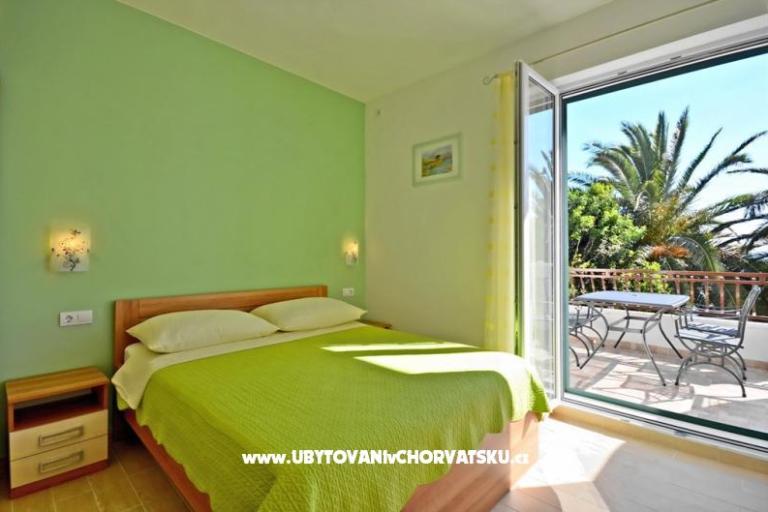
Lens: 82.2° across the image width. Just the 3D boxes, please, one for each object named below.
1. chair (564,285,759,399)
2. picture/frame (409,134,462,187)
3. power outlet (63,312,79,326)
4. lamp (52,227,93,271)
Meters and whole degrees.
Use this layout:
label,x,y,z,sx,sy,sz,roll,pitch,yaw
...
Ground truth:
label,x,y,z,sx,sy,sz,roll,pitch,yaw
chair,3.412,0.992,5.644,1.322,1.242,2.002,-2,3,-43
picture/frame,0.622,-1.093,5.126,0.685,0.510,0.034,1,4,41
power outlet,-2.853,0.579,4.003,0.128,0.117,0.013,2,-2,-38
lamp,-2.906,-0.041,3.997,0.343,0.372,0.362,-1,-1,43
